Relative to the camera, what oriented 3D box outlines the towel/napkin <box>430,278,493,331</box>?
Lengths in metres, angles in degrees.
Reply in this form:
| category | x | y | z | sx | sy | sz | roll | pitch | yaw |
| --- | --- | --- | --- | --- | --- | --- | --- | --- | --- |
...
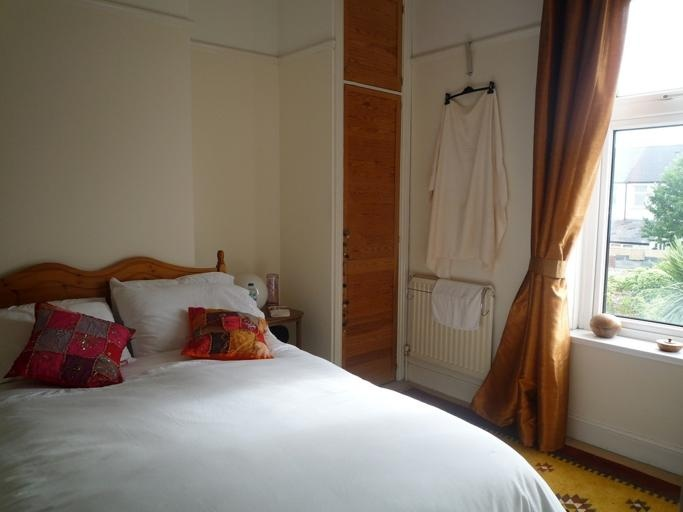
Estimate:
| category | x | y | z | sx | sy | sz | roll | pitch | yaw |
| --- | --- | --- | --- | --- | --- | --- | --- | --- | --- |
| towel/napkin | 0.891 | 0.375 | 3.783 | 0.377 | 0.335 | 0.206 | 11 | 13 | 32 |

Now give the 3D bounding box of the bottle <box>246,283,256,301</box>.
| category | x | y | z | sx | sy | sz | roll | pitch | yaw |
| --- | --- | --- | --- | --- | --- | --- | --- | --- | --- |
| bottle | -0.664 | 0.259 | 3.592 | 0.024 | 0.109 | 0.103 | -14 | 7 | -19 |

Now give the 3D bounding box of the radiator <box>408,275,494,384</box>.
| category | x | y | z | sx | sy | sz | roll | pitch | yaw |
| --- | --- | --- | --- | --- | --- | --- | --- | --- | --- |
| radiator | 0.884 | 0.562 | 3.810 | 0.149 | 0.818 | 0.755 | -5 | 10 | -40 |
